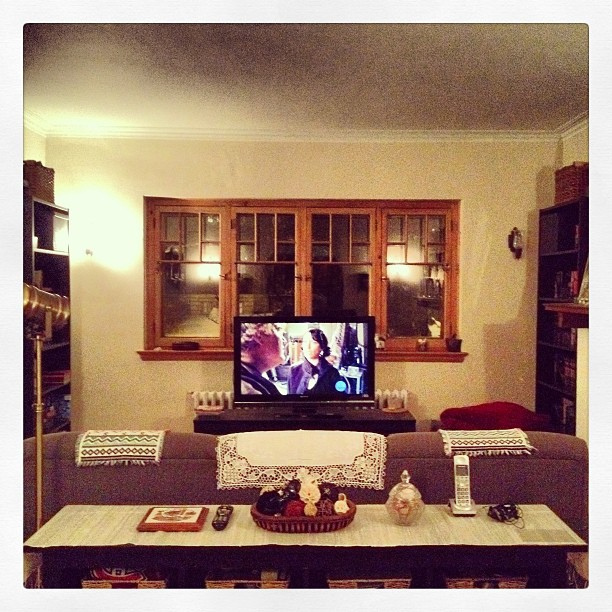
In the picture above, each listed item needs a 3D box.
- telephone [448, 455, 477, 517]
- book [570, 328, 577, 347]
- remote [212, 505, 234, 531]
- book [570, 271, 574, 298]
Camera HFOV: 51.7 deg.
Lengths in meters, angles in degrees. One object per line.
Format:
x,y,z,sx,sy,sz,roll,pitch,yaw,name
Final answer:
0.574,0.653,2.330,0.099,0.222,0.170,-2,6,6,telephone
1.676,0.197,3.981,0.023,0.112,0.090,1,4,8,book
-0.291,0.757,2.249,0.038,0.028,0.101,2,3,5,remote
1.695,-0.148,4.040,0.021,0.166,0.243,2,5,21,book
